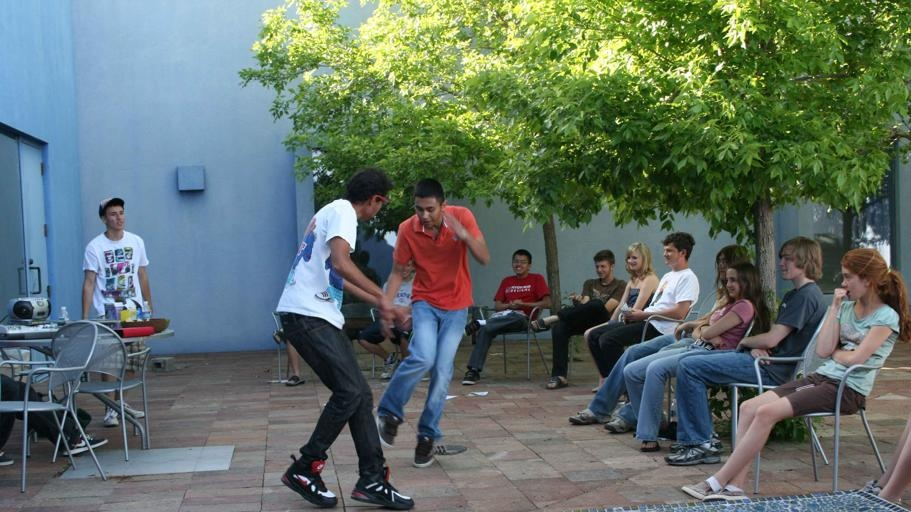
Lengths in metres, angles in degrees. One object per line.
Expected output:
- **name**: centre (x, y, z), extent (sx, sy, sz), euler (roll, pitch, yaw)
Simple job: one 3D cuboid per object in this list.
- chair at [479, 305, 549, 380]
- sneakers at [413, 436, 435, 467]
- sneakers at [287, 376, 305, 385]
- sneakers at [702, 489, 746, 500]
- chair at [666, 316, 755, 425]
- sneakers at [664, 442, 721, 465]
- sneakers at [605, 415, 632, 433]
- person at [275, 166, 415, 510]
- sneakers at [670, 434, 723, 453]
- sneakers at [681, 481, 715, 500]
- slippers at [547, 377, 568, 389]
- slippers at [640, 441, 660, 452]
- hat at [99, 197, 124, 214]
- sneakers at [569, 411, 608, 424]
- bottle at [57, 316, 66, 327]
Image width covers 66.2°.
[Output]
- **chair**: centre (0.916, 1.379, 11.130), extent (0.927, 1.355, 0.938), euler (-7, -18, 41)
- **sneakers**: centre (-0.308, 1.952, 7.085), extent (0.148, 0.235, 0.376), euler (2, 1, 6)
- **sneakers**: centre (-2.331, 1.810, 10.160), extent (0.108, 0.090, 0.267), euler (-1, -8, 18)
- **sneakers**: centre (2.354, 2.099, 6.154), extent (0.348, 0.109, 0.130), euler (2, -9, -1)
- **chair**: centre (2.668, 1.066, 7.274), extent (0.828, 1.281, 0.389), euler (-4, -20, 46)
- **sneakers**: centre (2.360, 1.965, 6.998), extent (0.565, 0.224, 0.201), euler (0, -3, -2)
- **sneakers**: centre (1.799, 1.871, 7.724), extent (0.379, 0.140, 0.128), euler (4, -5, -16)
- **person**: centre (-1.053, 0.729, 6.256), extent (1.127, 3.029, 0.738), euler (-3, 8, -9)
- **sneakers**: centre (2.342, 1.848, 7.005), extent (0.610, 0.235, 0.186), euler (0, -2, -2)
- **sneakers**: centre (2.181, 2.088, 6.259), extent (0.286, 0.108, 0.113), euler (1, -6, 32)
- **slippers**: centre (1.402, 1.752, 9.692), extent (0.324, 0.104, 0.117), euler (5, -7, -41)
- **slippers**: centre (2.002, 1.958, 7.221), extent (0.197, 0.088, 0.077), euler (0, 9, -6)
- **hat**: centre (-4.261, -0.613, 8.649), extent (0.260, 0.205, 0.526), euler (-5, 6, -28)
- **sneakers**: centre (1.493, 1.863, 8.015), extent (0.460, 0.183, 0.168), euler (3, -3, -1)
- **bottle**: centre (-4.350, 0.719, 7.709), extent (0.107, 0.079, 0.093), euler (1, 2, -6)
